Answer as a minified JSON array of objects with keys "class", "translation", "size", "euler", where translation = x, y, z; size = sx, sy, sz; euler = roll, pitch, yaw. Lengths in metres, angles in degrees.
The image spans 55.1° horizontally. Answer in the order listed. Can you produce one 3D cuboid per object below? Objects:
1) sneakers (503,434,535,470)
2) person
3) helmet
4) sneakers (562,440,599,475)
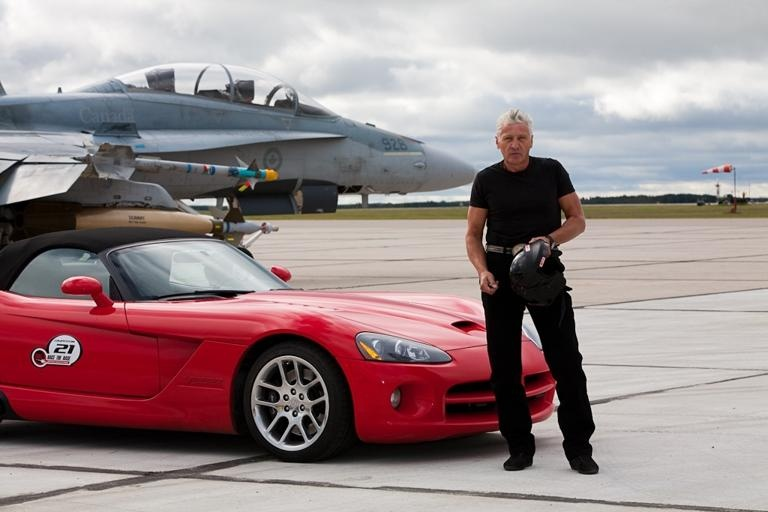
[{"class":"sneakers","translation":[0.888,1.302,4.894],"size":[0.178,0.195,0.229],"euler":[0,4,15]},{"class":"person","translation":[0.987,0.207,5.001],"size":[0.849,2.434,0.778],"euler":[-2,6,5]},{"class":"helmet","translation":[1.024,0.107,4.869],"size":[0.411,0.438,0.267],"euler":[-2,5,-2]},{"class":"sneakers","translation":[1.272,1.305,4.765],"size":[0.187,0.173,0.203],"euler":[-2,4,0]}]
